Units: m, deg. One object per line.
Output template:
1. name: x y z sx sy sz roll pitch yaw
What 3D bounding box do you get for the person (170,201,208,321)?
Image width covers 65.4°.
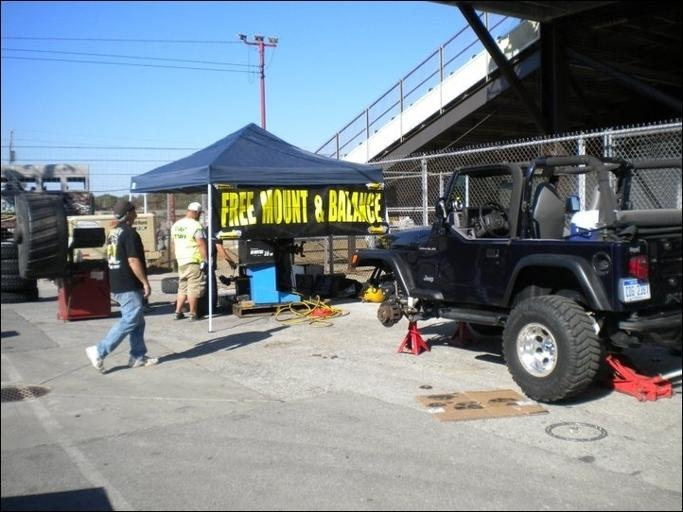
1. person: -2.846 0.118 10.104 0.498 2.281 1.109 -5 7 -34

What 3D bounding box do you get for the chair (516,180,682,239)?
1. chair: 3.003 -0.426 6.273 0.925 0.860 1.417 -4 0 -43

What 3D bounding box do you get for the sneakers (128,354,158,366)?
1. sneakers: -2.776 1.440 7.453 0.390 0.186 0.150 -1 5 -22

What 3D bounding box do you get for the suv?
1. suv: 2.387 0.142 6.798 1.761 2.721 3.500 -4 7 -31

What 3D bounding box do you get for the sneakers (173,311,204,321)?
1. sneakers: -2.966 1.135 10.415 0.592 0.247 0.199 1 1 -15

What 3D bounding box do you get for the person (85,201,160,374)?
1. person: -2.964 0.387 7.252 0.788 2.258 0.736 -1 6 -3
